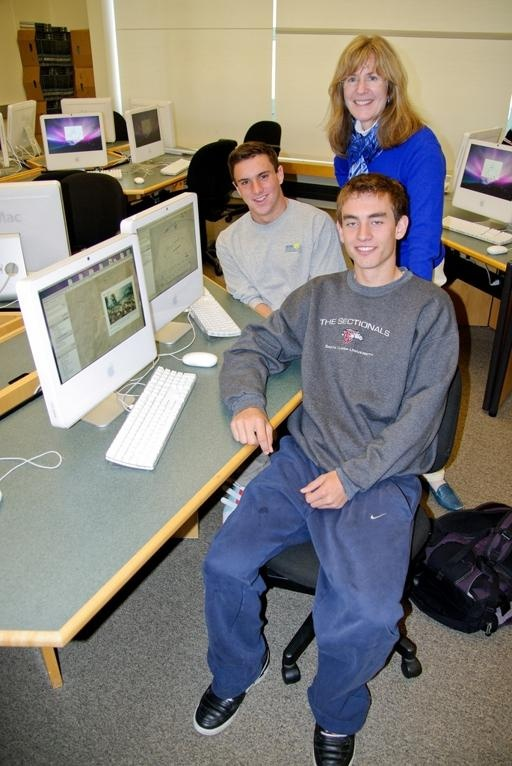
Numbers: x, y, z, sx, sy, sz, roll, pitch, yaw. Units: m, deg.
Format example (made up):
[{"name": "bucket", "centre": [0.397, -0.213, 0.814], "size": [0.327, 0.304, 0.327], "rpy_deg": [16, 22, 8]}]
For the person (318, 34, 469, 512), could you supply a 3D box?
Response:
[{"name": "person", "centre": [0.403, -0.328, 1.973], "size": [0.502, 1.665, 0.474], "rpy_deg": [3, 11, 35]}]

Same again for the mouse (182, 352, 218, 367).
[{"name": "mouse", "centre": [-0.170, -0.077, 1.732], "size": [0.072, 0.024, 0.053], "rpy_deg": [3, 27, 10]}]

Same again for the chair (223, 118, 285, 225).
[{"name": "chair", "centre": [-0.022, -1.764, 4.663], "size": [0.472, 0.785, 0.467], "rpy_deg": [15, 21, 36]}]

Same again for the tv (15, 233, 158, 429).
[{"name": "tv", "centre": [-0.395, -0.134, 1.401], "size": [0.089, 0.368, 0.420], "rpy_deg": [10, 30, 17]}]

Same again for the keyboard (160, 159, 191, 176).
[{"name": "keyboard", "centre": [-0.600, -1.647, 4.338], "size": [0.141, 0.036, 0.267], "rpy_deg": [9, 38, 12]}]

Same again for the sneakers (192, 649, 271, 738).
[{"name": "sneakers", "centre": [-0.037, 0.813, 1.579], "size": [0.105, 0.129, 0.324], "rpy_deg": [18, 36, 20]}]
